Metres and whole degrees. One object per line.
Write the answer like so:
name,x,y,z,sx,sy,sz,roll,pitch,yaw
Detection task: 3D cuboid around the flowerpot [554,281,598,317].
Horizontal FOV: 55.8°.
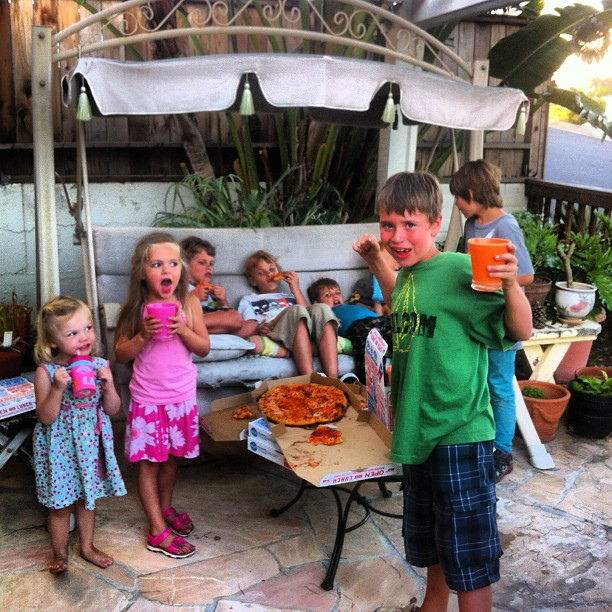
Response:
flowerpot,1.790,-0.066,3.889,0.280,0.177,0.271,-12,20,-37

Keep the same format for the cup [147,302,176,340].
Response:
cup,-0.525,0.056,2.247,0.154,0.134,0.138,1,10,-5

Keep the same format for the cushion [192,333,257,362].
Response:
cushion,-0.446,0.202,3.199,0.414,0.125,0.395,0,8,-11

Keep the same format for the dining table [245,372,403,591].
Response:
dining table,0.080,0.732,2.374,0.461,0.477,0.770,-8,31,-29

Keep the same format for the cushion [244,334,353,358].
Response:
cushion,-0.110,0.176,3.474,0.649,0.123,0.365,-1,9,-21

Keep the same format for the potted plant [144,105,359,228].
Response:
potted plant,-0.422,-1.188,4.945,1.448,0.908,1.681,1,1,-12

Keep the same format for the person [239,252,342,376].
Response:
person,-0.097,0.014,3.503,0.529,0.605,0.887,-5,14,-21

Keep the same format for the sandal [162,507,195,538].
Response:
sandal,-0.564,0.939,2.534,0.184,0.043,0.073,14,16,43

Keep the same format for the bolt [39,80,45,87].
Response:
bolt,-1.255,-1.061,2.755,0.027,0.025,0.008,0,16,-5

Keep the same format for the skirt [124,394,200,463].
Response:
skirt,-0.599,0.522,2.417,0.301,0.275,0.186,-2,15,-11

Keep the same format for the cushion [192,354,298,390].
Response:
cushion,-0.357,0.307,3.308,0.748,0.153,0.373,0,9,-8

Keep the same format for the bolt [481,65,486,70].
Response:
bolt,1.123,-1.505,3.669,0.040,0.025,0.013,-8,18,-35

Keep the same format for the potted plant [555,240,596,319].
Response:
potted plant,1.786,-0.162,3.841,0.345,0.487,0.228,-12,20,-41

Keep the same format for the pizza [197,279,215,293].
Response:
pizza,-0.613,-0.116,3.498,0.116,0.091,0.096,-6,16,-27

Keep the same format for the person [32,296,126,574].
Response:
person,-0.918,0.487,2.305,0.327,1.062,0.589,-7,17,-25

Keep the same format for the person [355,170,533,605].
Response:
person,0.401,0.305,1.752,0.300,1.385,0.508,-5,17,-22

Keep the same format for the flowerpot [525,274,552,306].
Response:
flowerpot,1.494,-0.104,3.712,0.251,0.151,0.221,-1,15,0

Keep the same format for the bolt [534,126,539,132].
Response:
bolt,2.467,-1.893,6.192,0.056,0.041,0.012,1,5,-3

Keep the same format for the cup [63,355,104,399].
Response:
cup,-0.803,0.252,2.072,0.168,0.096,0.135,-12,51,-12

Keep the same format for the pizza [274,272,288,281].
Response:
pizza,-0.173,-0.181,3.684,0.062,0.019,0.053,4,33,-19

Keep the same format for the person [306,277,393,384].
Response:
person,0.265,0.096,3.630,0.425,0.226,0.718,-16,34,-15

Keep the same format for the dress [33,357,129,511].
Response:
dress,-0.878,0.472,2.316,0.346,0.587,0.356,-8,18,-41

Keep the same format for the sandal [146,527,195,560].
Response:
sandal,-0.574,0.985,2.434,0.213,0.079,0.092,6,3,12
